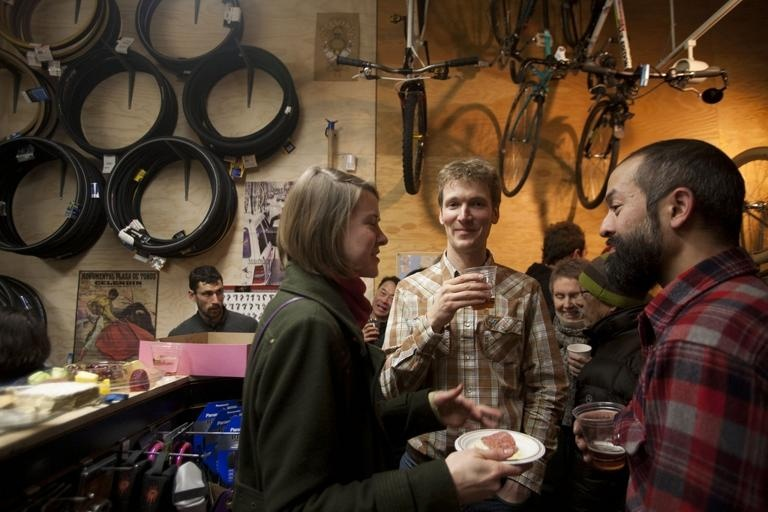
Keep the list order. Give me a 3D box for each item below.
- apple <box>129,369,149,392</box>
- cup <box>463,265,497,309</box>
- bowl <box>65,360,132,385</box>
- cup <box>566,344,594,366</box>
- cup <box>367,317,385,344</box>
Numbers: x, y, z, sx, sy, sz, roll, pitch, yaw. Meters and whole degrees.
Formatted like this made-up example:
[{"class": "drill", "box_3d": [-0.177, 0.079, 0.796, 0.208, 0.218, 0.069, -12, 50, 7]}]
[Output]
[{"class": "apple", "box_3d": [-1.584, 0.799, 3.654, 0.120, 0.130, 0.240, 2, 0, -24]}, {"class": "cup", "box_3d": [0.557, 0.162, 3.033, 0.222, 0.216, 0.219, 2, -3, 0]}, {"class": "bowl", "box_3d": [-1.842, 0.742, 3.667, 0.293, 0.102, 0.258, 2, -3, -11]}, {"class": "cup", "box_3d": [1.221, 0.620, 3.555, 0.116, 0.089, 0.116, -2, -3, 0]}, {"class": "cup", "box_3d": [-0.052, 0.547, 4.151, 0.149, 0.160, 0.183, 3, -12, -7]}]
